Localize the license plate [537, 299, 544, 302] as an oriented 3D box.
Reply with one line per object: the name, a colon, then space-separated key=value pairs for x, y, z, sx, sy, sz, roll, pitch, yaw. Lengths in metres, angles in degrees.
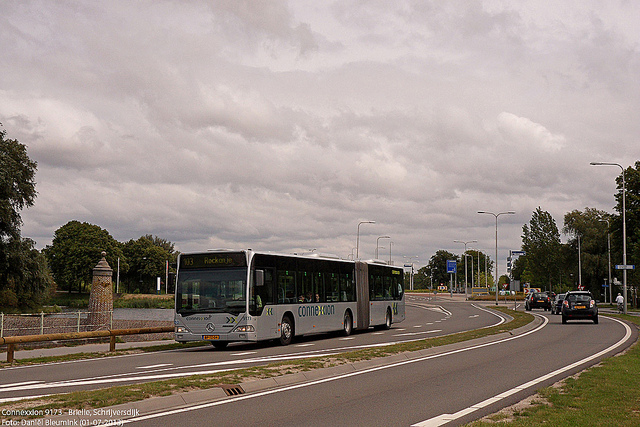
license plate: x=24.110 y=9.581 z=59.294 sx=0.582 sy=0.284 sz=0.118 roll=-5 pitch=-11 yaw=35

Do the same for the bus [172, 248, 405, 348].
bus: x=-0.273 y=4.430 z=30.452 sx=4.642 sy=5.087 sz=18.547 roll=-6 pitch=-12 yaw=28

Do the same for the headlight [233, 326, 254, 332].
headlight: x=-3.165 y=4.791 z=22.338 sx=0.795 sy=0.258 sz=0.165 roll=5 pitch=-9 yaw=-11

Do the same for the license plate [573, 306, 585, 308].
license plate: x=17.153 y=6.218 z=35.908 sx=0.608 sy=0.104 sz=0.022 roll=-1 pitch=-8 yaw=17

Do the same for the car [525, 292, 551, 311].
car: x=24.033 y=9.765 z=60.207 sx=1.494 sy=1.407 sz=2.770 roll=0 pitch=-4 yaw=8

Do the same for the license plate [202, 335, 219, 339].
license plate: x=-4.556 y=5.129 z=22.404 sx=0.720 sy=0.184 sz=0.060 roll=0 pitch=-8 yaw=12
